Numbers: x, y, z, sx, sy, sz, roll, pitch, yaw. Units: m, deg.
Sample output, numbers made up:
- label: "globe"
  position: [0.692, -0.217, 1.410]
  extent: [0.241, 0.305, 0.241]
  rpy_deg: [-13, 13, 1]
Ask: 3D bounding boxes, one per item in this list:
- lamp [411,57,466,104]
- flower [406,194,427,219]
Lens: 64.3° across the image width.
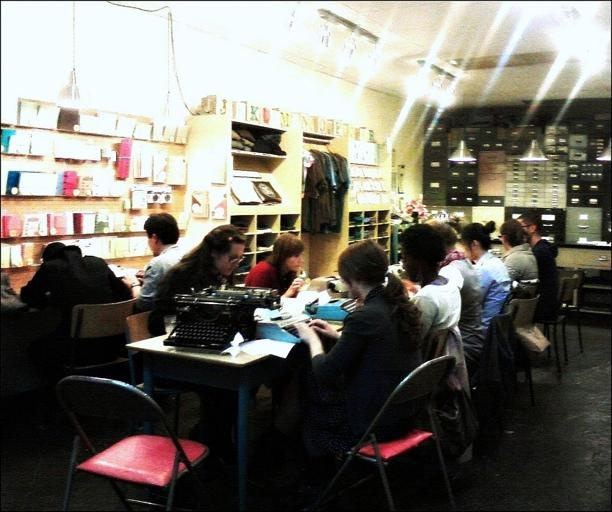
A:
- label: "lamp"
  position: [1.256, -1.612, 4.615]
  extent: [0.368, 0.452, 1.185]
  rpy_deg: [2, 4, 13]
- label: "flower"
  position: [1.727, -0.766, 7.493]
  extent: [0.394, 0.353, 0.212]
  rpy_deg: [-15, 0, 33]
